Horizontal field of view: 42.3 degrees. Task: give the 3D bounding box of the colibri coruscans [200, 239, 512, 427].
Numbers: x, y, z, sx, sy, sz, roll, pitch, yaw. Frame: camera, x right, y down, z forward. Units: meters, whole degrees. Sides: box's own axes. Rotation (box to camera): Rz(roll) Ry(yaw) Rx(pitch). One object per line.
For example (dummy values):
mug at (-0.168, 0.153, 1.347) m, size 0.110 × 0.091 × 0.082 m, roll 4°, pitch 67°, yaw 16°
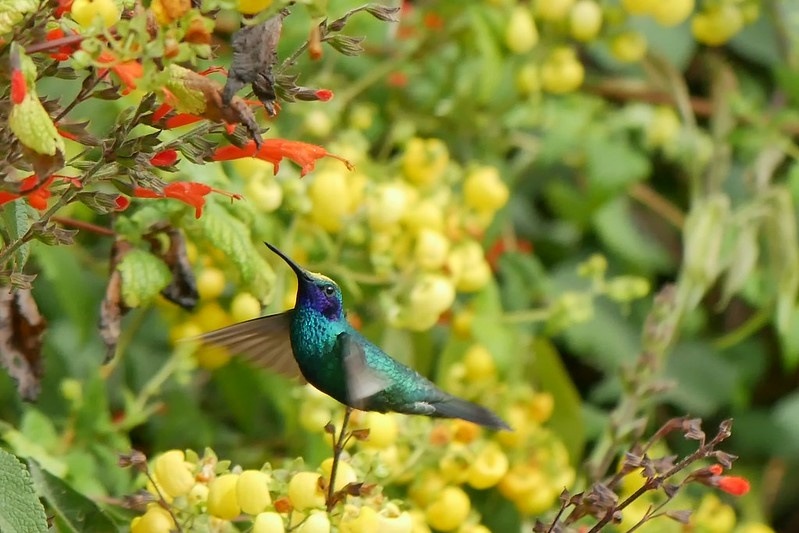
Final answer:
colibri coruscans at (-0.015, 0.084, 1.035) m, size 0.260 × 0.152 × 0.247 m, roll 12°, pitch 3°, yaw 7°
